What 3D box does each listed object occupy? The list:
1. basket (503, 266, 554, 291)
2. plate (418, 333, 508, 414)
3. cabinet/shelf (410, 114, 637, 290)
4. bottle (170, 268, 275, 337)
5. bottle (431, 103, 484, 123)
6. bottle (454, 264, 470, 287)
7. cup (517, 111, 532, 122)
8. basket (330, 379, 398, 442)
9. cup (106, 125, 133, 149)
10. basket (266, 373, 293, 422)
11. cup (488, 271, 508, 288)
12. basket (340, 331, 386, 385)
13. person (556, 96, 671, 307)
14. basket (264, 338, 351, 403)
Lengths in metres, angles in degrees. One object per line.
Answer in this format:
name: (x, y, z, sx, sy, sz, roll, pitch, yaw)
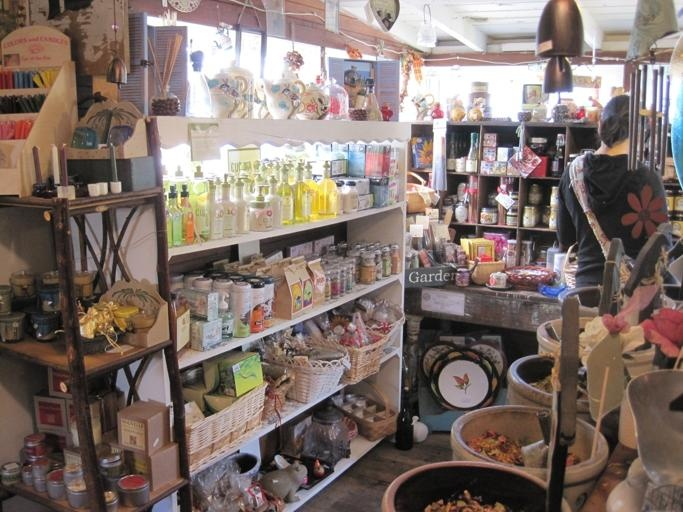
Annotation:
basket: (1.527, 0.169, 4.466, 0.371, 0.123, 0.464, 6, 13, 31)
plate: (0.955, 0.917, 4.361, 0.666, 0.545, 0.336, 2, 11, 14)
cabinet/shelf: (1.599, -0.490, 4.850, 1.815, 1.550, 0.519, 2, 6, 20)
bottle: (-0.601, 0.181, 2.816, 0.355, 0.220, 0.362, 2, 7, 0)
bottle: (1.287, -1.637, 6.213, 0.641, 0.232, 0.386, 6, 13, 28)
bottle: (0.964, 0.165, 4.434, 0.155, 0.147, 0.112, 0, 7, 13)
cup: (1.901, -1.462, 5.717, 0.105, 0.079, 0.104, -1, 10, 0)
basket: (0.145, 1.076, 4.181, 0.454, 0.268, 0.308, 10, -6, -1)
cup: (-0.867, -0.472, 2.194, 0.102, 0.087, 0.081, -3, 0, -3)
basket: (-0.361, 0.785, 3.082, 0.224, 0.207, 0.193, 1, 2, 7)
cup: (1.241, 0.177, 4.354, 0.161, 0.111, 0.141, 1, 11, 7)
basket: (0.158, 0.638, 3.577, 0.257, 0.208, 0.329, 6, 11, 32)
person: (1.800, -0.440, 3.787, 0.406, 1.272, 0.756, -5, 12, -19)
basket: (-0.182, 0.635, 3.262, 0.350, 0.223, 0.455, 6, 8, 28)
